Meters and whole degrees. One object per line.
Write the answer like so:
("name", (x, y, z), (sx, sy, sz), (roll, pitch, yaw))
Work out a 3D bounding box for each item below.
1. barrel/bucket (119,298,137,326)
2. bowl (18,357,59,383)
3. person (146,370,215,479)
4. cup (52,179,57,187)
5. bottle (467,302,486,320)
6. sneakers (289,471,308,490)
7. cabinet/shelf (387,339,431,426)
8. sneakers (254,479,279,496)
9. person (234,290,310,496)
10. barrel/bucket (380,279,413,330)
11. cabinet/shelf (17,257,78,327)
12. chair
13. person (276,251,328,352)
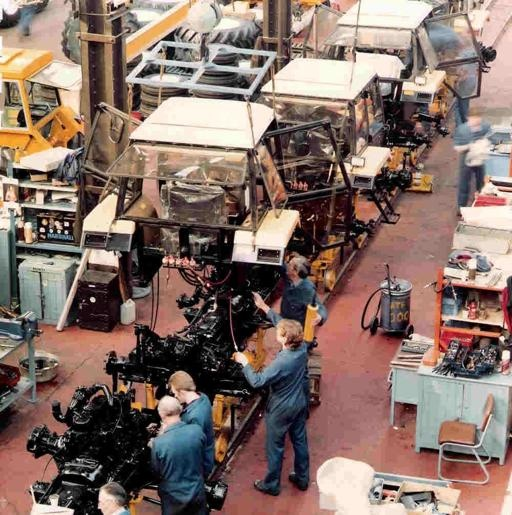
("barrel/bucket", (-1.742, 0.751, 9.442), (0.181, 0.346, 0.243), (15, 27, 29))
("bowl", (-2.560, 1.321, 8.321), (0.312, 0.139, 0.351), (3, 27, 0))
("person", (-0.575, 1.278, 5.347), (0.351, 1.034, 0.373), (10, 51, 15))
("cup", (-2.733, -0.998, 9.546), (0.102, 0.096, 0.056), (3, 16, 12))
("bottle", (2.299, 0.581, 7.418), (0.210, 0.212, 0.131), (1, 5, 7))
("sneakers", (0.396, 2.136, 6.655), (0.092, 0.156, 0.228), (-22, 42, -24))
("cabinet/shelf", (1.644, 1.371, 7.513), (0.267, 0.595, 0.645), (7, 31, 18))
("sneakers", (0.092, 2.161, 6.612), (0.211, 0.099, 0.104), (24, 38, 16))
("person", (0.207, 1.329, 6.491), (0.575, 1.780, 0.953), (2, 16, 9))
("barrel/bucket", (1.828, 0.659, 9.255), (0.389, 0.772, 0.372), (-1, 16, 0))
("cabinet/shelf", (-2.838, 0.497, 9.600), (0.693, 0.774, 0.499), (3, 12, 1))
("chair", (2.029, 1.749, 6.808), (0.509, 0.787, 0.603), (5, 17, 18))
("person", (0.500, 0.496, 7.658), (0.247, 0.957, 0.851), (-14, 54, -10))
